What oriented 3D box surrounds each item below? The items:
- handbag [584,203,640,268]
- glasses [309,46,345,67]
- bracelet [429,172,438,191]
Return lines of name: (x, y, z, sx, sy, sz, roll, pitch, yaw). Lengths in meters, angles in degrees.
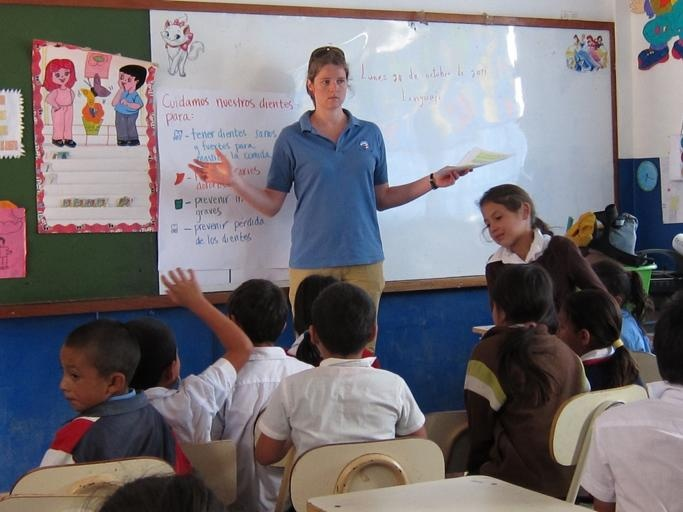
handbag: (1.552, -0.111, 3.528, 0.247, 0.363, 0.359, 6, -6, -1)
glasses: (-0.071, -0.958, 2.986, 0.148, 0.163, 0.048, 0, 19, -5)
bracelet: (0.461, -0.379, 3.152, 0.047, 0.078, 0.078, 4, -4, -1)
